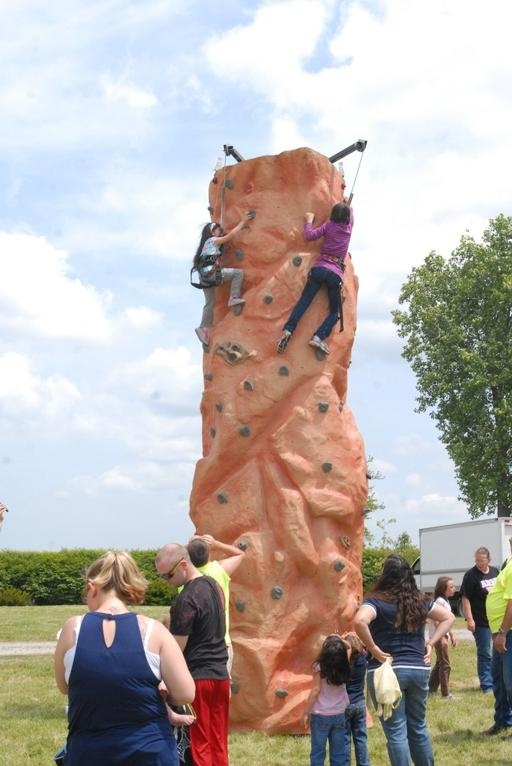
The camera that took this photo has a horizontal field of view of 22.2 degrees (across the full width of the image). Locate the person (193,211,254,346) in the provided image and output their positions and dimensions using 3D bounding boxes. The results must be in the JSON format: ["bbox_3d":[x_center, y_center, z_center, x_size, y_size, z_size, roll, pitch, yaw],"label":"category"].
[{"bbox_3d":[-0.406,-1.105,14.192,0.528,1.412,0.676,2,-11,-23],"label":"person"}]

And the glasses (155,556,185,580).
[{"bbox_3d":[-0.602,1.340,9.308,0.178,0.173,0.051,-5,-55,45],"label":"glasses"}]

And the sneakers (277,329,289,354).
[{"bbox_3d":[0.278,-0.415,13.590,0.150,0.207,0.083,16,-6,-29],"label":"sneakers"}]

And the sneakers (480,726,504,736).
[{"bbox_3d":[2.150,3.220,11.991,0.217,0.081,0.069,-3,-12,12],"label":"sneakers"}]

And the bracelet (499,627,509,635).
[{"bbox_3d":[2.124,2.155,11.267,0.056,0.031,0.061,3,-19,2],"label":"bracelet"}]

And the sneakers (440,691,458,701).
[{"bbox_3d":[2.040,3.361,13.943,0.171,0.098,0.053,-4,9,-16],"label":"sneakers"}]

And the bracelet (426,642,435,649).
[{"bbox_3d":[1.354,2.073,10.254,0.067,0.043,0.063,6,-12,-22],"label":"bracelet"}]

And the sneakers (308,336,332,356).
[{"bbox_3d":[0.645,-0.364,13.639,0.272,0.127,0.118,44,-16,-12],"label":"sneakers"}]

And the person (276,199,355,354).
[{"bbox_3d":[0.632,-1.078,13.757,0.769,1.614,0.546,-3,-10,6],"label":"person"}]
